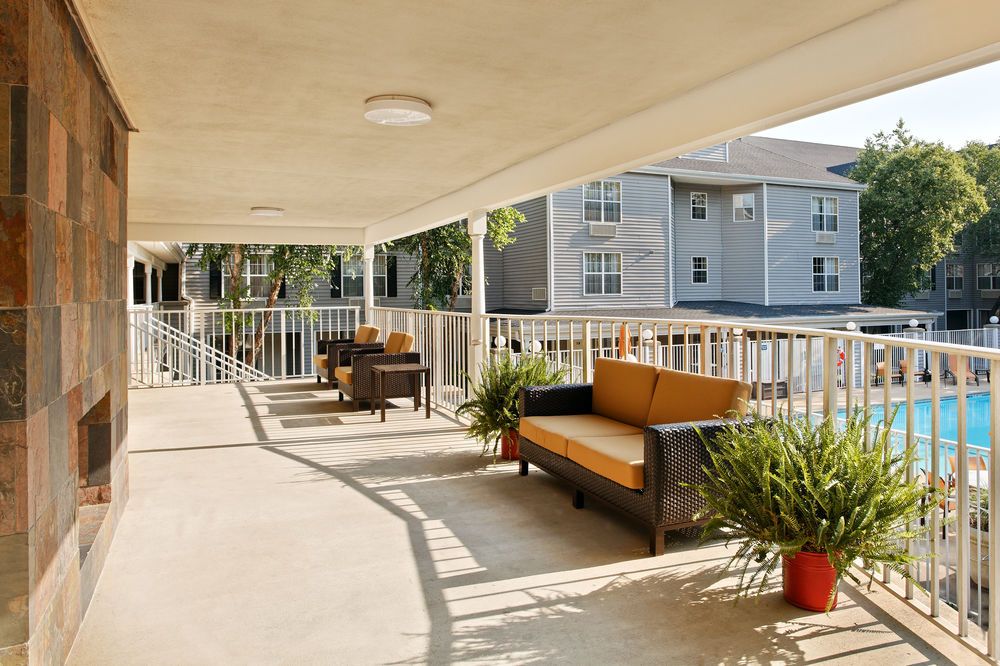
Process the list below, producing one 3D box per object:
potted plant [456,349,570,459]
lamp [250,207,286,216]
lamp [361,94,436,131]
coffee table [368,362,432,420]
[{"bbox_3d":[0.090,0.704,6.833,1.173,0.879,1.041,1,4,8],"label":"potted plant"},{"bbox_3d":[-3.552,-1.869,10.271,0.525,0.109,0.515,-1,7,-4],"label":"lamp"},{"bbox_3d":[-0.797,-1.786,5.357,0.546,0.154,0.357,-1,7,-4],"label":"lamp"},{"bbox_3d":[-1.305,0.708,8.849,0.830,0.667,0.752,0,3,-17],"label":"coffee table"}]
